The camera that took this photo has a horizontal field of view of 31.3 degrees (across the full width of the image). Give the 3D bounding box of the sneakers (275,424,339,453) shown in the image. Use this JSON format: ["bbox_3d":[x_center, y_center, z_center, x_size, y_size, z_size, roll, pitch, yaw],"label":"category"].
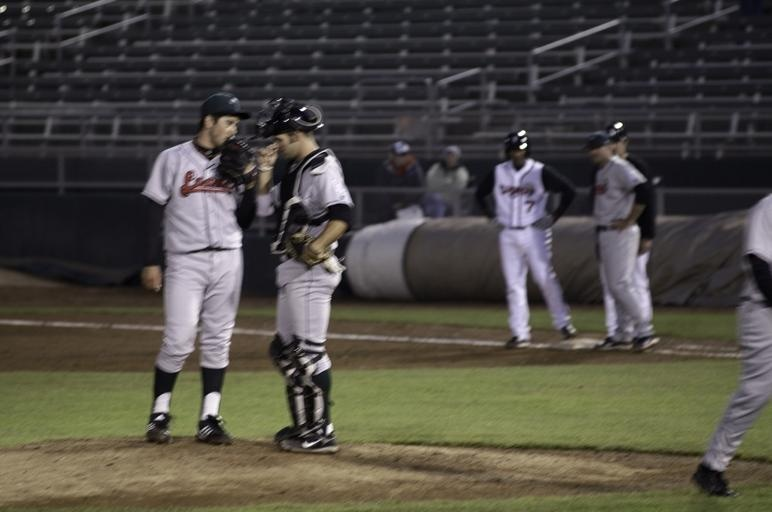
[{"bbox_3d":[-0.746,1.673,12.671,0.609,0.174,0.220,6,1,3],"label":"sneakers"}]

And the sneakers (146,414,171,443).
[{"bbox_3d":[-2.059,1.571,12.644,0.219,0.272,0.101,1,2,-7],"label":"sneakers"}]

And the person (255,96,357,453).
[{"bbox_3d":[-0.734,0.182,12.547,0.832,3.214,0.233,2,2,5],"label":"person"}]

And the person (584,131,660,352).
[{"bbox_3d":[2.465,-0.150,14.436,0.528,2.280,0.601,0,3,-34],"label":"person"}]

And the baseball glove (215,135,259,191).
[{"bbox_3d":[-1.354,-0.875,12.762,0.357,0.458,0.189,1,2,-3],"label":"baseball glove"}]

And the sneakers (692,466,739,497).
[{"bbox_3d":[2.888,1.984,12.165,0.377,0.088,0.307,25,16,34],"label":"sneakers"}]

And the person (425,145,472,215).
[{"bbox_3d":[0.845,-1.031,19.056,0.581,0.993,0.916,2,2,3],"label":"person"}]

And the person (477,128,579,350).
[{"bbox_3d":[1.571,-0.174,14.696,0.875,2.295,0.387,2,2,3],"label":"person"}]

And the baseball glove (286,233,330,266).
[{"bbox_3d":[-0.692,-0.055,12.518,0.418,0.148,0.283,20,-11,13],"label":"baseball glove"}]

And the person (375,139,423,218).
[{"bbox_3d":[0.232,-1.041,19.147,0.629,1.067,0.554,1,2,-1],"label":"person"}]

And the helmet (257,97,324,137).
[{"bbox_3d":[-0.853,-1.265,12.548,0.429,0.160,0.524,3,-8,-43],"label":"helmet"}]
